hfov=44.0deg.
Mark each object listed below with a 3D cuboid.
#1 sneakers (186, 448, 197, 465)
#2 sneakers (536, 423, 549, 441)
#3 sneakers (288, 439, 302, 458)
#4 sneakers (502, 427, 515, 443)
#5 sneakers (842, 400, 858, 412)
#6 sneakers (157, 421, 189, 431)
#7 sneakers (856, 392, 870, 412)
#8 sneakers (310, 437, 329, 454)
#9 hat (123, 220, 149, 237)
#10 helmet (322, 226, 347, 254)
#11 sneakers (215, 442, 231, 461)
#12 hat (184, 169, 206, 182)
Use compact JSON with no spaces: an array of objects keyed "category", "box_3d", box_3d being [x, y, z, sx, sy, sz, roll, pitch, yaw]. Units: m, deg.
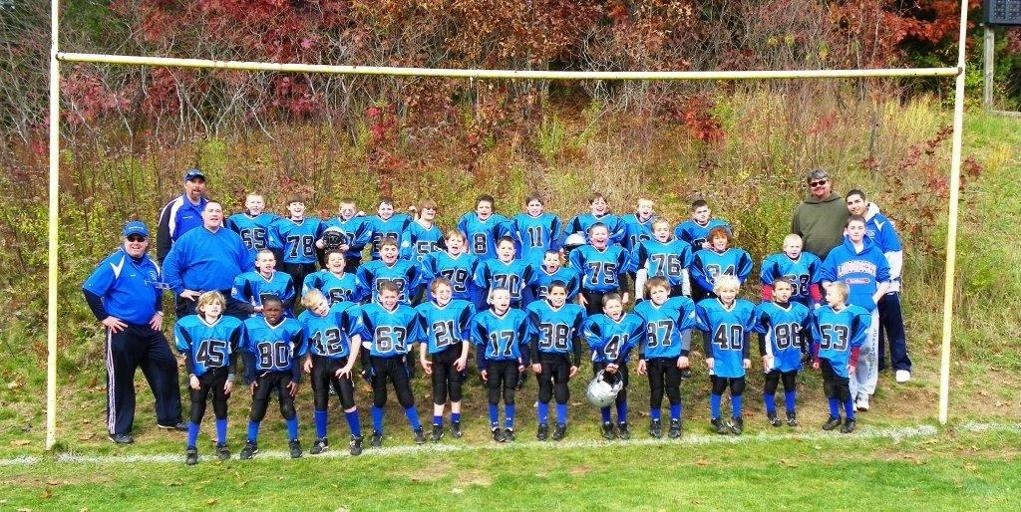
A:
[{"category":"sneakers","box_3d":[-6.811,4.297,27.003,0.236,0.340,0.144,-3,-3,-15]},{"category":"sneakers","box_3d":[0.703,3.873,27.656,0.301,0.346,0.241,-3,-3,-11]},{"category":"sneakers","box_3d":[-4.636,4.171,27.241,0.276,0.392,0.273,-3,-3,-15]},{"category":"sneakers","box_3d":[-0.047,3.933,27.630,0.258,0.297,0.246,-4,-3,-1]},{"category":"sneakers","box_3d":[7.462,3.374,27.866,0.222,0.260,0.637,-4,-26,16]},{"category":"sneakers","box_3d":[-7.397,3.761,27.806,0.678,0.264,0.240,-1,2,1]},{"category":"sneakers","box_3d":[7.808,3.284,28.147,0.273,0.405,0.110,-3,-3,-9]},{"category":"sneakers","box_3d":[-4.131,4.153,27.279,0.205,0.215,0.504,-1,-4,17]},{"category":"hat","box_3d":[-8.174,-0.547,27.518,0.467,0.335,0.627,3,-7,-21]},{"category":"helmet","box_3d":[-3.996,-0.268,28.873,0.520,0.547,0.570,4,-40,-3]},{"category":"sneakers","box_3d":[-6.173,4.213,27.166,0.290,0.346,0.224,-3,-3,-19]},{"category":"hat","box_3d":[-7.092,-1.805,28.329,0.410,0.283,0.561,6,-15,-28]}]
